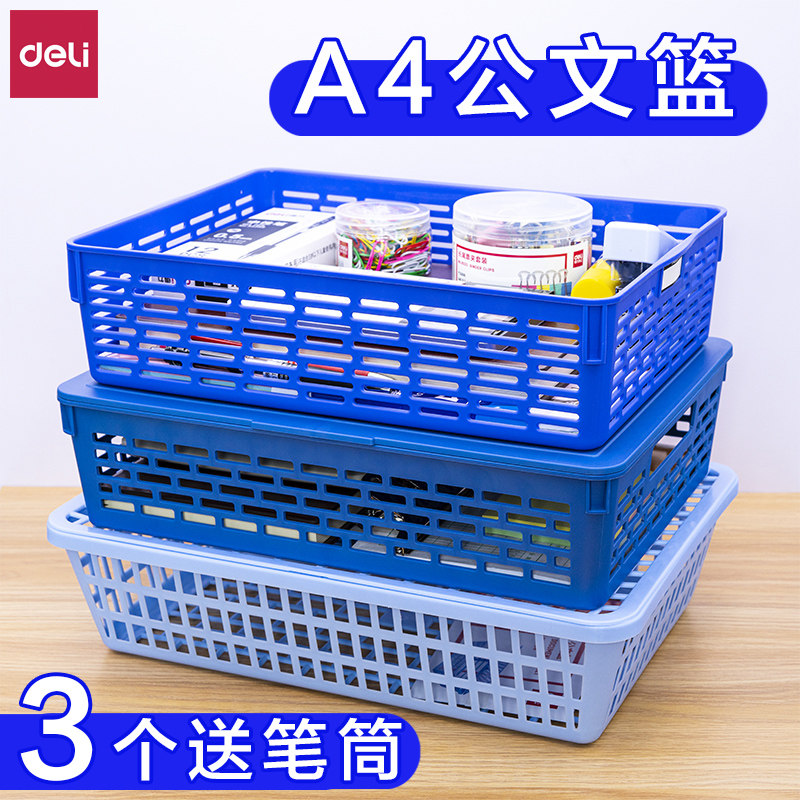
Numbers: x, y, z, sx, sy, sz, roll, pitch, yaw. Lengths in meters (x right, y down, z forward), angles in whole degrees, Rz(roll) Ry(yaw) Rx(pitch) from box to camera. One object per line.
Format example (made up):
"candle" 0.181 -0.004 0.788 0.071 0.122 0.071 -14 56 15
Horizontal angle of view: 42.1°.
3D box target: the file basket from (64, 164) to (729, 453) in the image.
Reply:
"file basket" -0.016 -0.048 0.819 0.468 0.099 0.293 8 21 19

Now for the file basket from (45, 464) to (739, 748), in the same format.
"file basket" -0.031 0.168 0.859 0.432 0.077 0.258 3 8 25

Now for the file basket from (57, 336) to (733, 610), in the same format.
"file basket" -0.027 0.036 0.815 0.374 0.067 0.253 5 14 21
